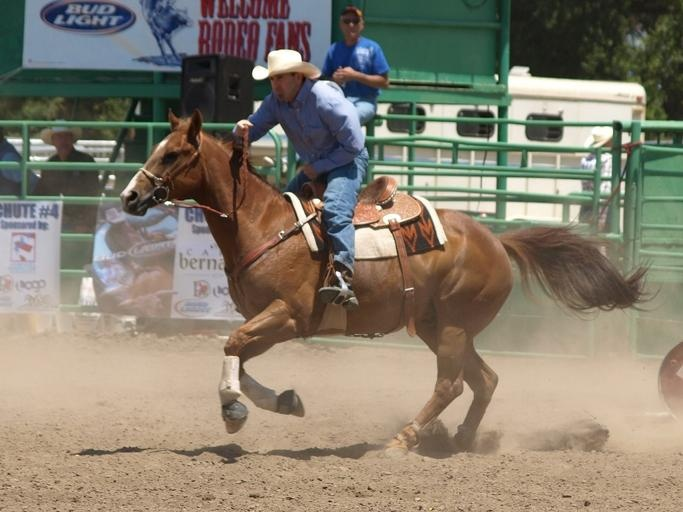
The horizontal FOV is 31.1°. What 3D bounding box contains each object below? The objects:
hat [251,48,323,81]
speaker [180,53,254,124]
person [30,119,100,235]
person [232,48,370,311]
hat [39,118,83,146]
[{"bbox_3d":[-0.427,-1.869,11.952,0.448,0.163,0.388,3,-8,-42],"label":"hat"},{"bbox_3d":[-1.591,-2.116,15.762,0.958,0.863,0.876,2,3,5],"label":"speaker"},{"bbox_3d":[-3.508,-1.023,15.906,0.784,1.309,1.350,1,7,-11],"label":"person"},{"bbox_3d":[-0.361,-0.799,12.011,1.185,2.436,0.830,3,7,5],"label":"person"},{"bbox_3d":[-3.721,-1.666,16.414,0.886,0.206,0.835,-6,10,-5],"label":"hat"}]
